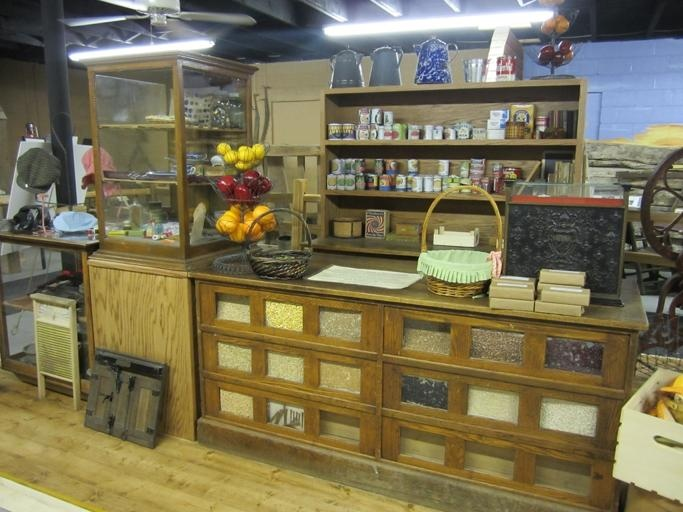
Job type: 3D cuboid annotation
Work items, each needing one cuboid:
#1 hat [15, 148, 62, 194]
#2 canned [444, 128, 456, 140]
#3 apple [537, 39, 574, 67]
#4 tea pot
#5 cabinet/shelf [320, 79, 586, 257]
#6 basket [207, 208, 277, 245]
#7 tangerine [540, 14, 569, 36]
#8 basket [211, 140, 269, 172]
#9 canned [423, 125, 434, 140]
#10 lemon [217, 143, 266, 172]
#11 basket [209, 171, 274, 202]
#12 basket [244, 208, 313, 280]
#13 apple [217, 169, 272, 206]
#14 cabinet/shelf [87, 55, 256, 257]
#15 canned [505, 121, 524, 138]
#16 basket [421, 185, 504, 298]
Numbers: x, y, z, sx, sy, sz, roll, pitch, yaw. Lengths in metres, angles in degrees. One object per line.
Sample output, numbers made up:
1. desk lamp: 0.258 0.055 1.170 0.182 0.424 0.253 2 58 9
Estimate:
1. hat: -2.414 -0.679 4.182 0.310 0.355 0.106 -3 15 -15
2. canned: 0.910 -1.009 4.356 0.103 0.105 0.208 3 12 8
3. apple: 1.711 -1.609 4.153 0.249 0.224 0.299 5 14 18
4. tea pot: 0.413 -1.629 4.458 1.147 0.397 0.319 6 15 24
5. cabinet/shelf: 0.905 -0.726 4.139 1.981 1.299 0.469 4 8 16
6. basket: -0.599 -0.190 3.220 0.301 0.142 0.276 4 6 29
7. tangerine: 1.644 -1.764 4.008 0.206 0.174 0.070 19 50 -1
8. basket: -0.650 -0.625 3.318 0.275 0.137 0.267 5 9 22
9. canned: 0.734 -1.040 4.398 0.085 0.112 0.094 3 14 7
10. lemon: -0.638 -0.618 3.330 0.328 0.150 0.205 0 4 -19
11. basket: -0.623 -0.412 3.205 0.282 0.121 0.259 3 7 29
12. basket: -0.376 -0.060 3.174 0.410 0.328 0.375 -2 14 -18
13. apple: -0.623 -0.418 3.225 0.300 0.147 0.262 -4 10 -27
14. cabinet/shelf: -1.094 -0.634 3.849 1.114 1.275 0.994 9 13 32
15. canned: 1.367 -0.990 4.126 0.154 0.112 0.130 4 18 12
16. basket: 0.659 0.004 2.888 0.441 0.389 0.395 4 14 13
